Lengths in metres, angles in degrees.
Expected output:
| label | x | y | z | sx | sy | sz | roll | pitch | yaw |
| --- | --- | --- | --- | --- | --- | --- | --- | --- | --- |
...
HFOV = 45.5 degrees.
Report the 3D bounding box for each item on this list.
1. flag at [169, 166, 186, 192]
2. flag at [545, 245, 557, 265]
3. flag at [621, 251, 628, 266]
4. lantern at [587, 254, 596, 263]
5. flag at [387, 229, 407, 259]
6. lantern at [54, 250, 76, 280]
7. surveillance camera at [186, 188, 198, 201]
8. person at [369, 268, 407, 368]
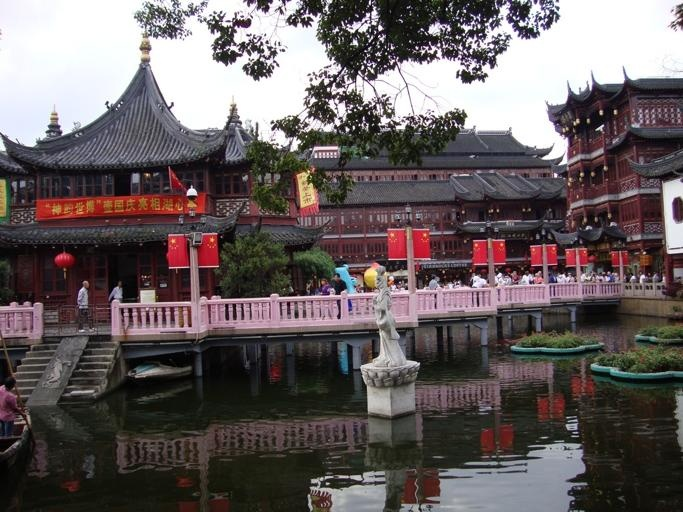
| label | x | y | z | sx | sy | sz | roll | pitch | yaw |
| --- | --- | --- | --- | --- | --- | --- | --- | --- | --- |
| flag | -6.960 | -3.245 | 34.331 | 0.170 | 1.239 | 1.175 | -5 | -2 | 18 |
| flag | 10.050 | -0.025 | 39.031 | 0.466 | 1.061 | 1.351 | 0 | 10 | 13 |
| flag | 16.221 | 0.113 | 46.673 | 0.630 | 0.814 | 0.840 | -2 | 2 | 16 |
| lantern | 16.282 | 0.044 | 52.987 | 0.695 | 0.467 | 0.375 | -3 | -10 | 17 |
| flag | 2.036 | -0.438 | 29.040 | 0.804 | 1.062 | 1.054 | -3 | 2 | -40 |
| lantern | -11.426 | 0.268 | 33.096 | 0.824 | 1.188 | 0.814 | -4 | -1 | 21 |
| surveillance camera | -5.110 | -2.098 | 27.687 | 0.286 | 0.486 | 0.745 | -4 | 10 | -5 |
| person | 1.295 | 1.678 | 23.063 | 0.888 | 2.735 | 0.899 | -2 | 10 | 3 |
